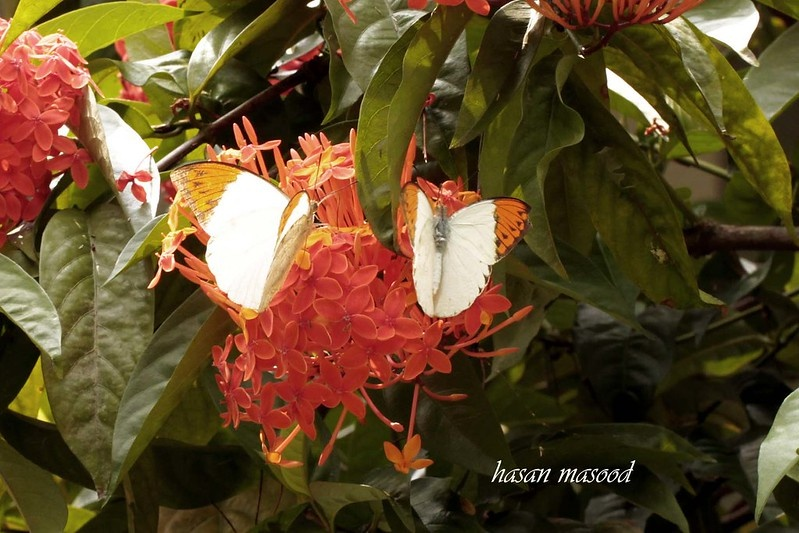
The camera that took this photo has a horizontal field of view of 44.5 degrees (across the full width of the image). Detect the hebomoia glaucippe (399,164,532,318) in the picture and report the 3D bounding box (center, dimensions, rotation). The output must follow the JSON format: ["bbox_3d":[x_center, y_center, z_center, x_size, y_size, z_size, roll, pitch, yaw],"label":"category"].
[{"bbox_3d":[0.084,-0.046,1.394,0.190,0.193,0.120,-28,45,-15],"label":"hebomoia glaucippe"}]

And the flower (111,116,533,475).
[{"bbox_3d":[-0.109,0.061,1.563,0.546,0.553,0.270,2,13,3],"label":"flower"}]
